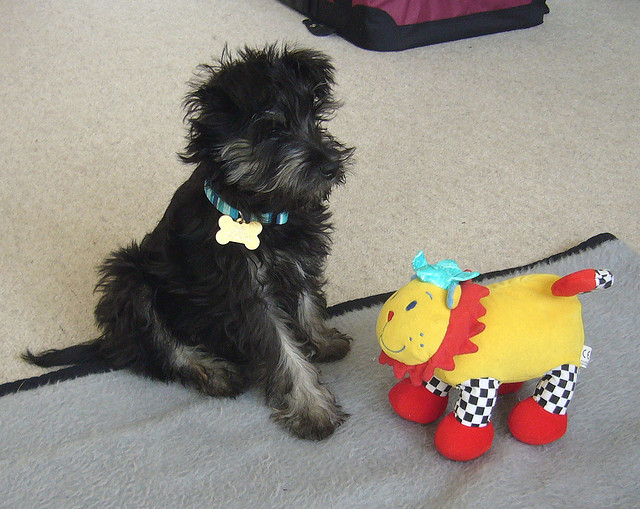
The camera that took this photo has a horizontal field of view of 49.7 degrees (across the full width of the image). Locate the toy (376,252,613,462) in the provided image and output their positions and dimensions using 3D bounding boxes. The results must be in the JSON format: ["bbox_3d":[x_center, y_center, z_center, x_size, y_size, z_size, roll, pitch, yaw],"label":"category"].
[{"bbox_3d":[0.491,0.212,2.339,0.751,0.697,0.510,-11,26,6],"label":"toy"}]
